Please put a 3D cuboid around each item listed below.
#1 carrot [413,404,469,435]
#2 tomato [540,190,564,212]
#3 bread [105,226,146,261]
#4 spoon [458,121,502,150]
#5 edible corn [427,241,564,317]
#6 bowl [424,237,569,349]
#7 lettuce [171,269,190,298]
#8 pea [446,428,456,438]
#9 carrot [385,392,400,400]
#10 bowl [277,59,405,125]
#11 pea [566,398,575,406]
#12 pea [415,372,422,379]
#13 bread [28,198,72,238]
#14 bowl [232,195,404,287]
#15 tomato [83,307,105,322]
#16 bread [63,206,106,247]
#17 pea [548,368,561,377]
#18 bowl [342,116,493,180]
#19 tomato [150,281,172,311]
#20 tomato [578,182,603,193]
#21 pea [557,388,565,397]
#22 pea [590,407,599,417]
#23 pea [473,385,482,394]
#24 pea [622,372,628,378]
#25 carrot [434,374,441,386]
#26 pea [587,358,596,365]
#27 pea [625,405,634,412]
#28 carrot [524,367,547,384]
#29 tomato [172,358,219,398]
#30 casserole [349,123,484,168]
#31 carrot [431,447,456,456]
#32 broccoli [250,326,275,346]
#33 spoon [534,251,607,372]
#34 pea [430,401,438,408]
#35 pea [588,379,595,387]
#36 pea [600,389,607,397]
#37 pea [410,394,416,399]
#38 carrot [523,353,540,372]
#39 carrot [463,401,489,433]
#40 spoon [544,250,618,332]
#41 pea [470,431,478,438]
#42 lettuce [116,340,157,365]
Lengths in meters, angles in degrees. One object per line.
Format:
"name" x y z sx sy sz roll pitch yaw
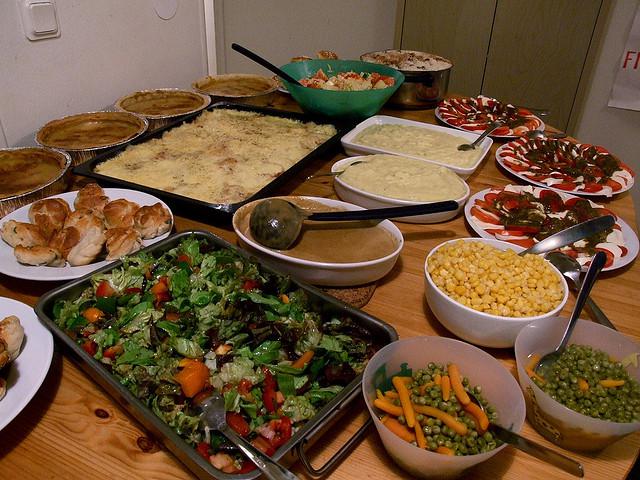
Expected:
"carrot" 0.294 0.449 1.142 0.119 0.035 0.027 18 14 25
"tomato" 0.965 -0.171 1.925 0.094 0.030 0.145 16 39 15
"bread" -0.659 -0.017 1.542 0.112 0.043 0.117 -4 39 -13
"spoon" 0.839 -0.552 2.436 0.059 0.036 0.251 25 66 35
"edible corn" 0.543 0.119 1.409 0.244 0.095 0.251 13 30 8
"bowl" 0.557 0.238 1.467 0.312 0.165 0.330 4 25 -2
"lettuce" -0.418 0.131 1.385 0.050 0.070 0.025 0 -13 -9
"pea" 0.317 0.473 1.126 0.022 0.016 0.013 16 39 17
"carrot" 0.183 0.400 1.185 0.030 0.015 0.010 22 5 -2
"bowl" 0.104 -0.813 2.529 0.524 0.225 0.554 3 34 -2
"pea" 0.643 0.421 1.192 0.013 0.013 0.014 16 44 16
"pea" 0.263 0.364 1.235 0.014 0.011 0.011 -7 -1 24
"bread" -0.975 -0.092 1.658 0.110 0.050 0.155 -3 49 -13
"bowl" 0.021 0.003 1.618 0.451 0.112 0.353 19 39 19
"tomato" -0.657 0.215 1.336 0.048 0.036 0.030 3 41 27
"bread" -0.839 -0.063 1.670 0.123 0.039 0.128 12 65 21
"pea" 0.633 0.361 1.263 0.020 0.008 0.021 -29 30 -18
"bowl" 0.455 -0.566 2.207 0.618 0.090 0.401 17 40 22
"tomato" -0.475 0.171 1.388 0.027 0.068 0.067 24 17 -28
"tomato" 1.195 -0.239 2.053 0.115 0.019 0.068 -1 38 -5
"pea" 0.629 0.402 1.211 0.015 0.016 0.016 -3 4 -4
"pea" 0.697 0.442 1.176 0.016 0.017 0.017 -3 1 3
"pea" 0.413 0.395 1.214 0.017 0.009 0.017 -25 50 -25
"pea" 0.806 0.360 1.226 0.011 0.012 0.015 -14 3 -15
"carrot" 0.306 0.367 1.207 0.013 0.014 0.022 -25 43 39
"pea" 0.735 0.331 1.254 0.015 0.009 0.015 16 32 24
"pea" 0.788 0.432 1.178 0.021 0.010 0.018 9 38 8
"carrot" 0.572 0.365 1.235 0.047 0.011 0.012 42 23 7
"tomato" -0.350 0.350 1.242 0.098 0.058 0.127 -3 -13 30
"casserole" 0.470 -0.483 2.278 0.507 0.075 0.313 19 40 24
"carrot" 0.292 0.503 1.094 0.038 0.012 0.021 11 22 23
"broccoli" -0.159 0.262 1.267 0.057 0.048 0.017 -10 4 -10
"spoon" 0.739 0.223 1.373 0.056 0.042 0.359 27 77 40
"pea" 0.285 0.418 1.166 0.015 0.009 0.015 -7 6 -37
"pea" 0.712 0.379 1.217 0.014 0.016 0.018 10 30 3
"pea" 0.734 0.399 1.202 0.017 0.016 0.018 12 57 32
"pea" 0.236 0.407 1.193 0.007 0.009 0.009 -12 -2 16
"carrot" 0.587 0.339 1.278 0.072 0.020 0.023 -42 17 -29
"carrot" 0.381 0.437 1.139 0.017 0.033 0.062 11 18 -24
"spoon" 0.850 0.107 1.584 0.083 0.047 0.415 -14 54 -6
"pea" 0.374 0.475 1.125 0.013 0.012 0.013 -5 -2 -2
"lettuce" -0.495 0.309 1.258 0.096 0.019 0.070 2 38 -2
